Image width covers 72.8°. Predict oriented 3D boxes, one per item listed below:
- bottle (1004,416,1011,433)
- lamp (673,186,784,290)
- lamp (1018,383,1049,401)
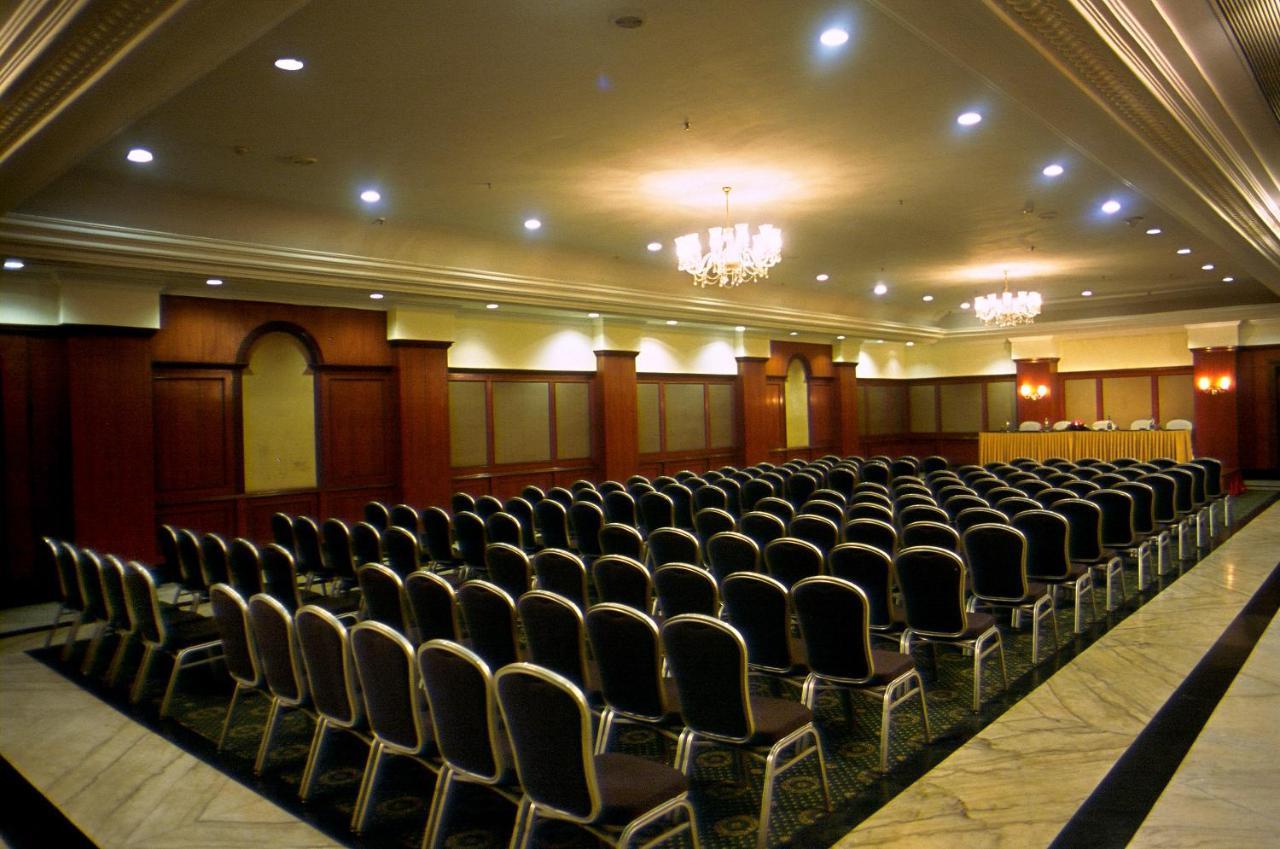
[{"bbox_3d":[9.888,0.004,23.294,0.075,0.296,0.311,5,3,3],"label":"bottle"},{"bbox_3d":[1.158,-2.354,11.432,1.234,1.513,1.359,-3,5,-7],"label":"lamp"},{"bbox_3d":[10.251,-0.850,22.576,0.757,0.494,0.311,1,3,38],"label":"lamp"}]
